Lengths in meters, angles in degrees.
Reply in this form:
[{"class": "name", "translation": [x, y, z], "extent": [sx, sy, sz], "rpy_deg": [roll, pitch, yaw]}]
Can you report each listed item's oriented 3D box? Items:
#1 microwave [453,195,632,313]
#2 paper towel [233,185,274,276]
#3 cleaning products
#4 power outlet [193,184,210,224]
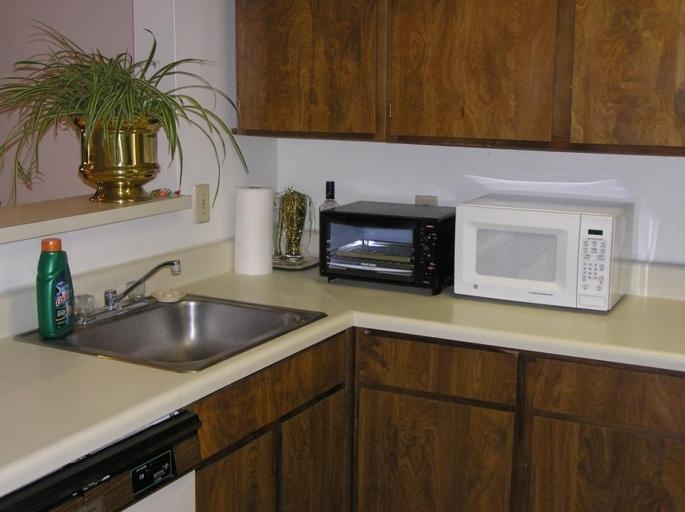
[{"class": "microwave", "translation": [0.689, -0.002, 2.056], "extent": [0.536, 0.384, 0.395], "rpy_deg": [5, 10, 33]}, {"class": "paper towel", "translation": [-0.377, -0.111, 2.500], "extent": [0.169, 0.363, 0.137], "rpy_deg": [-2, 13, -11]}, {"class": "cleaning products", "translation": [-0.846, 0.085, 1.776], "extent": [0.109, 0.287, 0.114], "rpy_deg": [5, 8, 31]}, {"class": "power outlet", "translation": [-0.579, -0.218, 2.409], "extent": [0.018, 0.195, 0.143], "rpy_deg": [4, 7, 23]}]
